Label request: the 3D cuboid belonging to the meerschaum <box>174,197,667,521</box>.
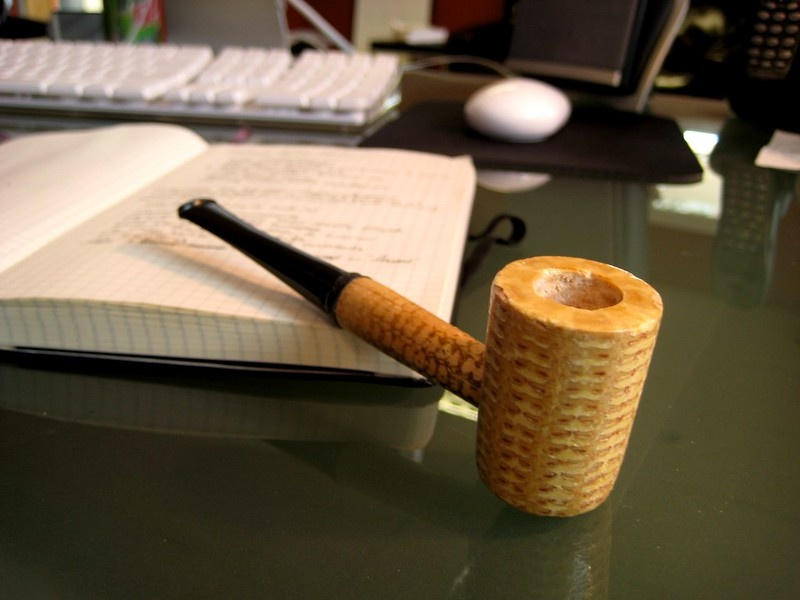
[{"bbox_3d":[-0.004,0.007,0.318,0.243,0.093,0.064,25,38,36],"label":"meerschaum"}]
